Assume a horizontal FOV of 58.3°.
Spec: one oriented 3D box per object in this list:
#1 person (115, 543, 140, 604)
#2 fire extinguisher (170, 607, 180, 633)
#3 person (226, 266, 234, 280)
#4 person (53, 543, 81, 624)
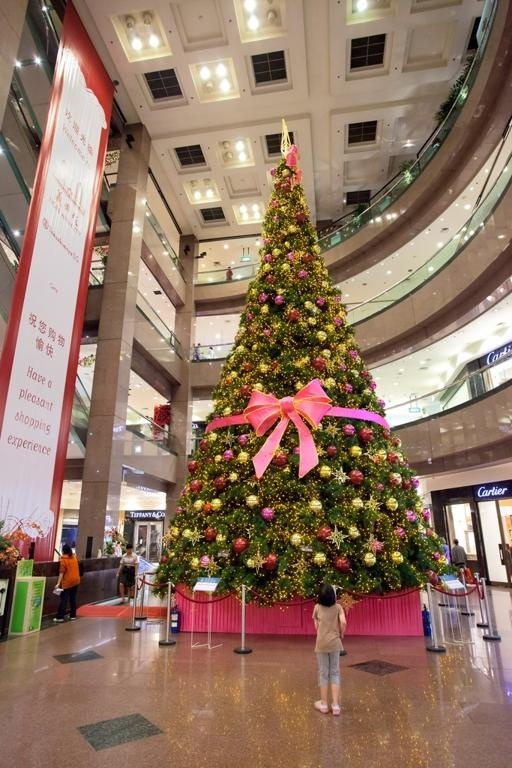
[{"bbox_3d":[-2.547,3.786,9.108,0.334,1.066,1.527,6,-22,-15],"label":"person"},{"bbox_3d":[-0.976,2.894,5.592,0.113,0.272,0.185,8,-23,-21],"label":"fire extinguisher"},{"bbox_3d":[-1.131,-4.646,19.511,0.269,0.776,0.243,4,-21,-10],"label":"person"},{"bbox_3d":[-2.886,3.068,7.084,0.352,1.092,1.642,7,-23,-18],"label":"person"}]
